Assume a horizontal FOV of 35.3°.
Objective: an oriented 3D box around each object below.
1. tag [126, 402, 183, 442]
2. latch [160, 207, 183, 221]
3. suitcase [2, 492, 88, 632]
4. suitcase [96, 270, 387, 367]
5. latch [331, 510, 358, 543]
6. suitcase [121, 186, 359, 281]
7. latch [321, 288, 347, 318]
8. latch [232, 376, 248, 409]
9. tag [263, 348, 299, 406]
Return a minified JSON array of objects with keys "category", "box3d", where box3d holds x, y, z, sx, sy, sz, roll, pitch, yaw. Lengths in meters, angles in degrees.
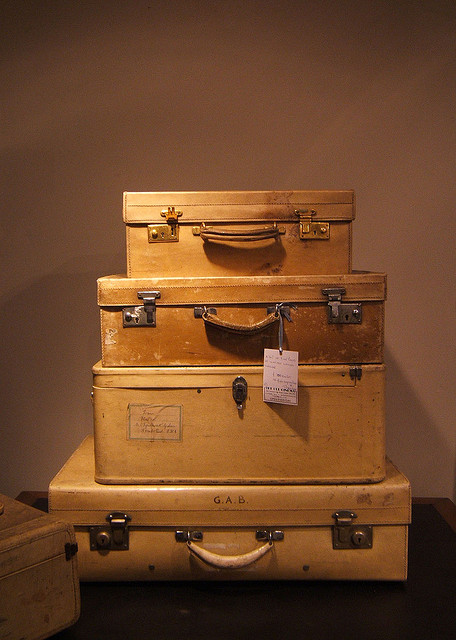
[{"category":"tag","box3d":[-0.195,0.278,1.995,0.131,0.114,0.036,2,-1,0]},{"category":"latch","box3d":[-0.154,-0.296,1.981,0.056,0.045,0.033,0,-2,-3]},{"category":"suitcase","box3d":[-0.455,0.563,1.808,0.227,0.179,0.323,-2,1,-26]},{"category":"suitcase","box3d":[0.050,-0.068,2.271,0.854,0.284,0.671,0,6,2]},{"category":"latch","box3d":[0.321,0.557,1.939,0.074,0.116,0.020,0,-2,-1]},{"category":"suitcase","box3d":[0.038,-0.369,2.210,0.672,0.286,0.579,-2,33,-3]},{"category":"latch","box3d":[0.289,-0.050,1.923,0.065,0.093,0.022,0,8,3]},{"category":"latch","box3d":[0.035,0.196,1.932,0.040,0.088,0.019,-2,11,-7]},{"category":"tag","box3d":[0.143,0.151,1.916,0.124,0.199,0.021,1,2,7]}]
